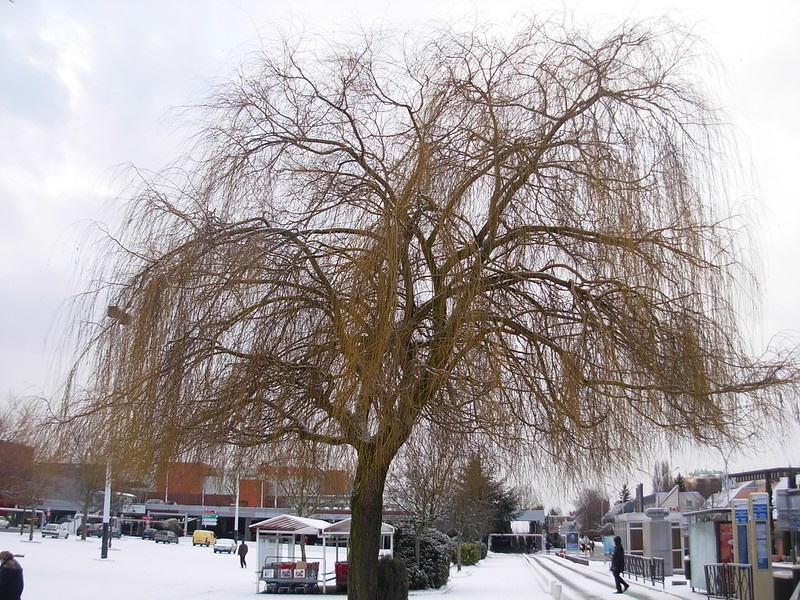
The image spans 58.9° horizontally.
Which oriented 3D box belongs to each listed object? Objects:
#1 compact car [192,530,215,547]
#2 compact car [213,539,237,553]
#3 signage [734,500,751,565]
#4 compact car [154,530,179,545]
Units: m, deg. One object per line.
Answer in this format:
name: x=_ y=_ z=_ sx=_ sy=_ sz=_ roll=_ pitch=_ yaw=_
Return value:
compact car: x=-19.158 y=23.418 z=69.682 sx=1.368 sy=1.458 sz=2.464 roll=0 pitch=-6 yaw=6
compact car: x=-15.044 y=21.208 z=61.259 sx=1.006 sy=0.894 sz=2.575 roll=4 pitch=-31 yaw=-2
signage: x=9.794 y=6.640 z=20.299 sx=0.453 sy=2.309 sz=0.252 roll=-3 pitch=22 yaw=23
compact car: x=-22.812 y=22.997 z=69.565 sx=1.313 sy=1.200 sz=2.503 roll=-1 pitch=-8 yaw=9
